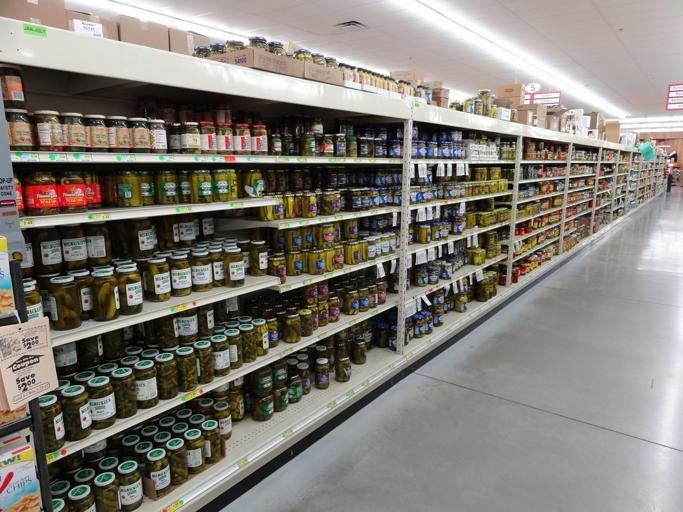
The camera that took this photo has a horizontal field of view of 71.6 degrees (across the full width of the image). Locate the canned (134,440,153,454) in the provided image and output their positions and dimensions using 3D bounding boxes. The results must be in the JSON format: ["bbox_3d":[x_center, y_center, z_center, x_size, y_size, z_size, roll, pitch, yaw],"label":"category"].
[{"bbox_3d":[-1.112,1.049,2.638,0.063,0.046,0.057,6,7,19],"label":"canned"}]

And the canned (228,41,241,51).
[{"bbox_3d":[-0.669,-1.296,2.916,0.098,0.056,0.075,-9,27,-25],"label":"canned"}]

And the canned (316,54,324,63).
[{"bbox_3d":[-0.157,-1.379,3.315,0.070,0.051,0.066,-14,24,-35],"label":"canned"}]

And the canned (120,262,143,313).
[{"bbox_3d":[-1.106,0.161,2.459,0.092,0.254,0.109,-4,14,7],"label":"canned"}]

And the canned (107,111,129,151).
[{"bbox_3d":[-1.124,-0.615,2.375,0.109,0.172,0.065,-10,15,-17],"label":"canned"}]

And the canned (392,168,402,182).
[{"bbox_3d":[0.501,-0.732,4.258,0.076,0.109,0.137,10,15,37],"label":"canned"}]

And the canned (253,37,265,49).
[{"bbox_3d":[-0.497,-1.331,2.950,0.087,0.062,0.083,22,34,24],"label":"canned"}]

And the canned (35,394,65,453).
[{"bbox_3d":[-1.383,0.776,2.253,0.095,0.248,0.134,-12,15,-22],"label":"canned"}]

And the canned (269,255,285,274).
[{"bbox_3d":[-0.446,0.045,3.332,0.148,0.126,0.131,3,6,10],"label":"canned"}]

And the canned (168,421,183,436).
[{"bbox_3d":[-0.979,1.001,2.783,0.073,0.052,0.064,4,12,4],"label":"canned"}]

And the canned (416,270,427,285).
[{"bbox_3d":[0.807,0.199,4.816,0.160,0.139,0.141,1,10,8],"label":"canned"}]

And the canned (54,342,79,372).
[{"bbox_3d":[-1.439,0.515,2.466,0.129,0.157,0.072,-17,18,-39],"label":"canned"}]

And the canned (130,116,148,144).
[{"bbox_3d":[-1.038,-0.635,2.425,0.095,0.140,0.055,-10,15,-17],"label":"canned"}]

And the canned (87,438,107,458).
[{"bbox_3d":[-1.334,1.029,2.559,0.115,0.083,0.100,1,3,-1],"label":"canned"}]

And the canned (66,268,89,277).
[{"bbox_3d":[-1.327,0.078,2.376,0.092,0.027,0.078,-12,14,-33],"label":"canned"}]

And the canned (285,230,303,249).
[{"bbox_3d":[-0.327,-0.134,3.435,0.154,0.173,0.138,-2,7,-4],"label":"canned"}]

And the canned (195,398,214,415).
[{"bbox_3d":[-0.873,0.927,3.022,0.109,0.080,0.101,-5,14,-29],"label":"canned"}]

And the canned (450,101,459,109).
[{"bbox_3d":[1.253,-1.658,5.183,0.106,0.082,0.104,13,21,36],"label":"canned"}]

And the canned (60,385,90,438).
[{"bbox_3d":[-1.308,0.758,2.319,0.103,0.255,0.100,-6,14,2],"label":"canned"}]

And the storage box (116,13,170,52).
[{"bbox_3d":[-1.045,-1.165,2.478,0.166,0.120,0.296,7,11,37],"label":"storage box"}]

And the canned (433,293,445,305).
[{"bbox_3d":[1.028,0.420,4.831,0.140,0.110,0.126,1,1,21],"label":"canned"}]

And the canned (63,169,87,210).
[{"bbox_3d":[-1.270,-0.312,2.251,0.049,0.184,0.127,1,15,26],"label":"canned"}]

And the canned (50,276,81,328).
[{"bbox_3d":[-1.347,0.217,2.282,0.142,0.248,0.101,-13,16,-28],"label":"canned"}]

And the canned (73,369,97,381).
[{"bbox_3d":[-1.332,0.610,2.430,0.106,0.028,0.147,-9,13,-23],"label":"canned"}]
